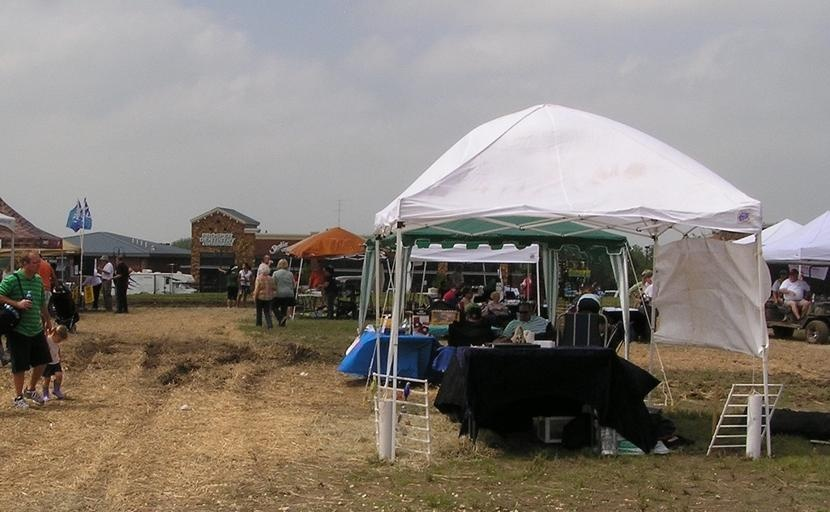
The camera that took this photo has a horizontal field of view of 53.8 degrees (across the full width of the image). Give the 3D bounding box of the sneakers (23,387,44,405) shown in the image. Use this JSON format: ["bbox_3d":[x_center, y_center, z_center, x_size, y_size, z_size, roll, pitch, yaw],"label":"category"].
[{"bbox_3d":[-6.776,2.492,14.475,0.447,0.196,0.162,22,9,10],"label":"sneakers"}]

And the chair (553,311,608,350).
[{"bbox_3d":[3.060,1.453,15.343,0.948,0.923,0.859,-2,-19,22],"label":"chair"}]

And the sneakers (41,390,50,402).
[{"bbox_3d":[-6.572,2.512,14.543,0.112,0.212,0.205,6,38,-6],"label":"sneakers"}]

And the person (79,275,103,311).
[{"bbox_3d":[-11.910,1.385,29.982,1.215,1.559,1.187,2,-4,-20],"label":"person"}]

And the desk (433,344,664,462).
[{"bbox_3d":[2.086,2.192,12.759,3.229,1.580,0.607,1,10,1],"label":"desk"}]

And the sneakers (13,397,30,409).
[{"bbox_3d":[-6.821,2.554,14.163,0.135,0.157,0.346,3,-8,-41],"label":"sneakers"}]
